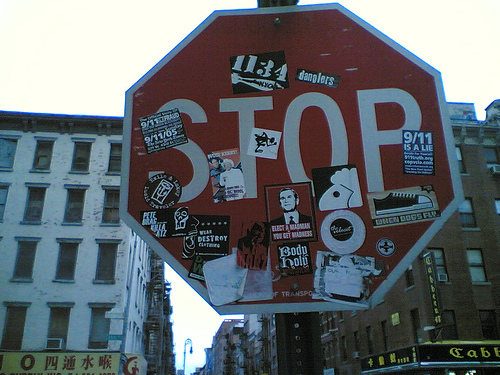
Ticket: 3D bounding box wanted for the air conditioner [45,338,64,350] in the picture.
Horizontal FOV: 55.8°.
[{"bbox_3d":[-12.091,9.651,29.339,1.215,0.803,0.625,2,-13,0],"label":"air conditioner"}]
